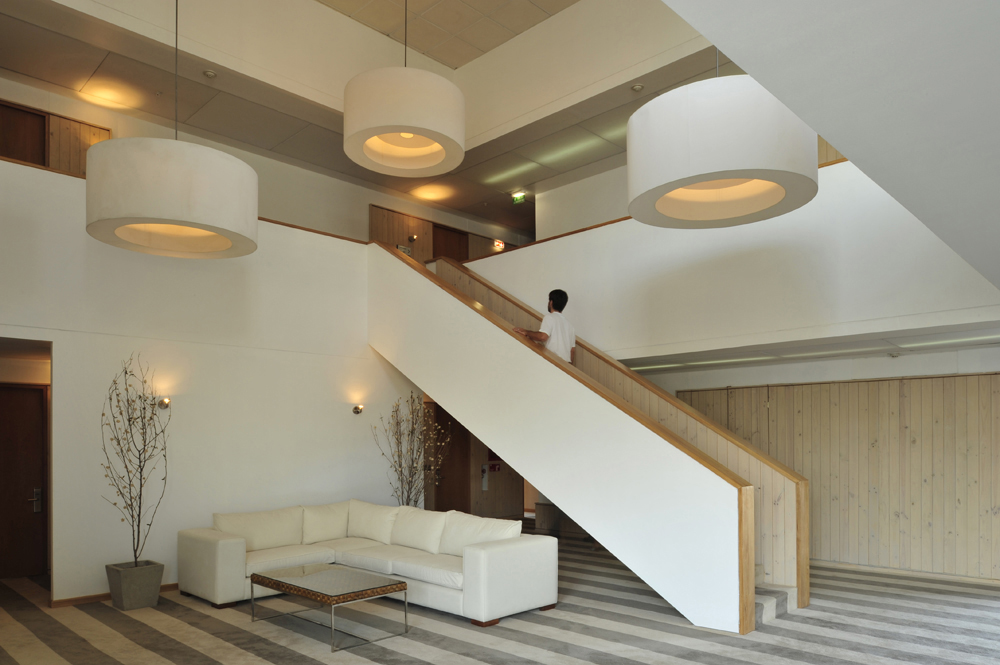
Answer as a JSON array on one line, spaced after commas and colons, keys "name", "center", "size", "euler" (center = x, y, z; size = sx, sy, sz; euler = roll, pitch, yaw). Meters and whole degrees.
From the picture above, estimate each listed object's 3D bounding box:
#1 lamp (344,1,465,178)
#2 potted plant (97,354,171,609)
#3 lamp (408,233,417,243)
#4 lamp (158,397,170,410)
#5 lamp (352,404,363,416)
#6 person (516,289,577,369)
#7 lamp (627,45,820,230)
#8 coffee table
[{"name": "lamp", "center": [-1.358, -2.595, 9.541], "size": [1.372, 2.514, 1.381], "euler": [6, -18, -21]}, {"name": "potted plant", "center": [-4.604, 1.823, 9.511], "size": [0.829, 2.967, 1.102], "euler": [-1, 2, -24]}, {"name": "lamp", "center": [-1.858, -1.989, 16.066], "size": [0.067, 0.193, 0.234], "euler": [1, 2, 40]}, {"name": "lamp", "center": [-4.494, 0.939, 10.031], "size": [0.134, 0.099, 0.134], "euler": [22, 19, -19]}, {"name": "lamp", "center": [-2.251, 1.222, 11.913], "size": [0.144, 0.118, 0.162], "euler": [-1, 8, -27]}, {"name": "person", "center": [0.655, -0.082, 10.071], "size": [0.638, 0.966, 0.843], "euler": [0, 1, 8]}, {"name": "lamp", "center": [2.076, -1.678, 7.136], "size": [1.654, 0.715, 1.672], "euler": [-4, -11, 19]}, {"name": "coffee table", "center": [-1.853, 3.018, 8.599], "size": [1.763, 0.610, 1.209], "euler": [1, 1, 38]}]
